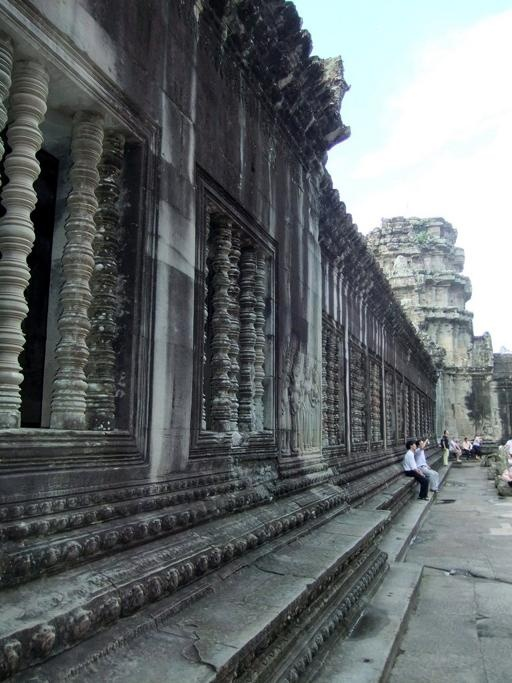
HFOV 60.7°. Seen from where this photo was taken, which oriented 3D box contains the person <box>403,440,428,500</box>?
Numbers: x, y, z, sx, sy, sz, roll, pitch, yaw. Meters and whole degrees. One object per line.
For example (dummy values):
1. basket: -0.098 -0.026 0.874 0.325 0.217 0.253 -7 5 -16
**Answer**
1. person: 3.138 2.563 8.743 0.434 1.072 0.829 -5 -10 12
